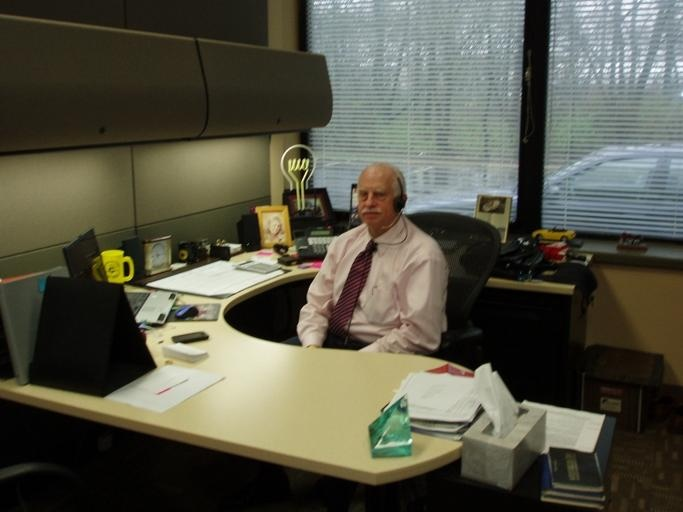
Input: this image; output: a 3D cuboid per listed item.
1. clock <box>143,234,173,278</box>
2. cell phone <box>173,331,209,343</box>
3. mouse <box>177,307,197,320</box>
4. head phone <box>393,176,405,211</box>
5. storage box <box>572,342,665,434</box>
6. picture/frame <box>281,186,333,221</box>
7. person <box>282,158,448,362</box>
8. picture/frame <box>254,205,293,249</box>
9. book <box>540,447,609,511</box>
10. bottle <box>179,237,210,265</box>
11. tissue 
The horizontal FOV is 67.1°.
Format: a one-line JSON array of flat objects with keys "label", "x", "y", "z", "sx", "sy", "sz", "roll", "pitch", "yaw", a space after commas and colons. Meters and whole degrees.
[{"label": "clock", "x": -0.948, "y": 0.006, "z": 2.635, "sx": 0.045, "sy": 0.216, "sz": 0.206, "roll": 2, "pitch": 4, "yaw": 29}, {"label": "cell phone", "x": -0.585, "y": 0.314, "z": 1.984, "sx": 0.086, "sy": 0.016, "sz": 0.054, "roll": -4, "pitch": 14, "yaw": -16}, {"label": "mouse", "x": -0.660, "y": 0.239, "z": 2.180, "sx": 0.046, "sy": 0.036, "sz": 0.076, "roll": 4, "pitch": 1, "yaw": 20}, {"label": "head phone", "x": 0.272, "y": -0.288, "z": 2.400, "sx": 0.050, "sy": 0.137, "sz": 0.110, "roll": 2, "pitch": -3, "yaw": 5}, {"label": "storage box", "x": 1.608, "y": 0.709, "z": 2.969, "sx": 0.472, "sy": 0.375, "sz": 0.432, "roll": 4, "pitch": 11, "yaw": 26}, {"label": "picture/frame", "x": -0.208, "y": -0.347, "z": 3.429, "sx": 0.249, "sy": 0.239, "sz": 0.066, "roll": 3, "pitch": -10, "yaw": -18}, {"label": "person", "x": 0.087, "y": 0.027, "z": 2.643, "sx": 0.789, "sy": 1.101, "sz": 0.786, "roll": 0, "pitch": -6, "yaw": 35}, {"label": "picture/frame", "x": -0.436, "y": -0.176, "z": 3.214, "sx": 0.241, "sy": 0.310, "sz": 0.020, "roll": -5, "pitch": -6, "yaw": -22}, {"label": "book", "x": 0.614, "y": 0.590, "z": 1.361, "sx": 0.137, "sy": 0.100, "sz": 0.144, "roll": 4, "pitch": 22, "yaw": 17}, {"label": "bottle", "x": -0.829, "y": -0.019, "z": 2.890, "sx": 0.090, "sy": 0.079, "sz": 0.169, "roll": 1, "pitch": 6, "yaw": 16}, {"label": "tissue ", "x": 0.465, "y": 0.479, "z": 1.461, "sx": 0.213, "sy": 0.223, "sz": 0.276, "roll": 4, "pitch": 16, "yaw": 23}]
